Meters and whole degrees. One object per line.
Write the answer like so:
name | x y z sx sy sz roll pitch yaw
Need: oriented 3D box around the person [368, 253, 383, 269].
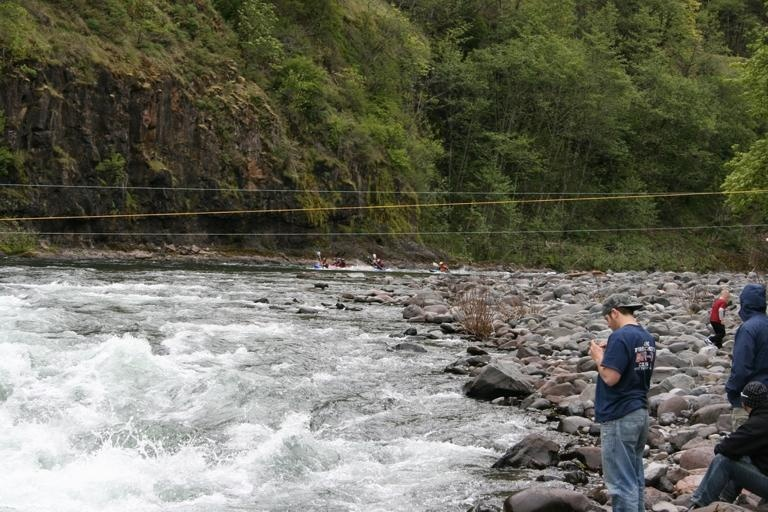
person | -0.610 0.275 48.233 0.454 0.271 0.937 -18 32 -23

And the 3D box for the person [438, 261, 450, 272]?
person | 3.234 0.542 48.540 0.549 0.564 1.008 -3 -7 -1

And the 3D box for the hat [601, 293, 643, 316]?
hat | 5.742 1.130 20.345 0.956 0.391 0.559 -1 -2 13

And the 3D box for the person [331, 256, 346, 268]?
person | -2.627 0.299 46.680 0.541 0.901 0.423 -13 -17 28

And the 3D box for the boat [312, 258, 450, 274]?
boat | -0.520 0.545 47.721 6.094 0.509 0.790 2 -2 -21
